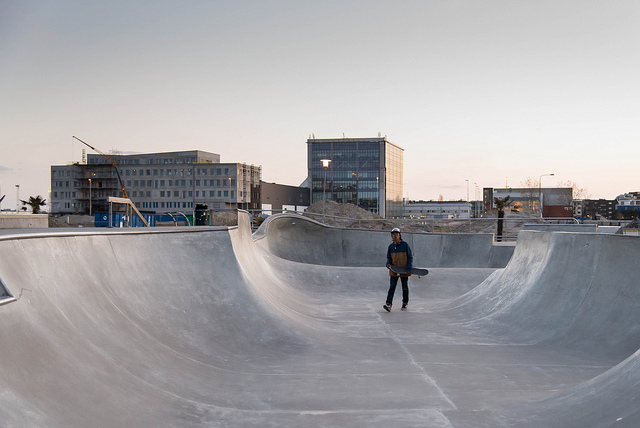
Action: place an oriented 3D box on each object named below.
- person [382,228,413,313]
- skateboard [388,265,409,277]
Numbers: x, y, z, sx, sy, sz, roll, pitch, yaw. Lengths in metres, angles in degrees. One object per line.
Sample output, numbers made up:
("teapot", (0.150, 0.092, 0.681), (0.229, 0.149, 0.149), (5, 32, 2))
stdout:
("person", (1.598, 1.164, 14.245), (0.535, 1.759, 0.755), (1, 4, 6))
("skateboard", (1.598, 1.144, 14.049), (0.354, 0.179, 0.075), (2, 4, 9))
